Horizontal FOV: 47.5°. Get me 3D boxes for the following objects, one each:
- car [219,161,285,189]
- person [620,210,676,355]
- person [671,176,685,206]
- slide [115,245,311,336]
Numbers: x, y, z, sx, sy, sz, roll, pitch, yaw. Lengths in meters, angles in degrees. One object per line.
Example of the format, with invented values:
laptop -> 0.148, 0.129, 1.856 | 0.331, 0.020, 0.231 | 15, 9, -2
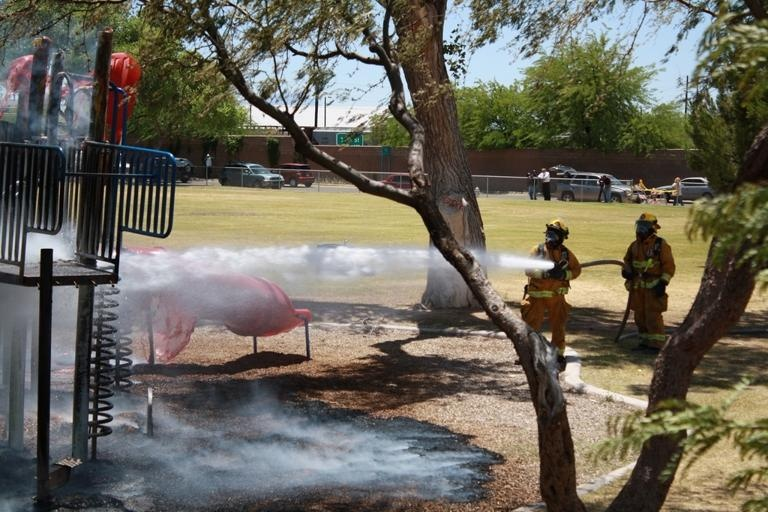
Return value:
car -> -8.472, -5.205, 55.157 | 4.281, 1.448, 1.498 | 4, 12, 21
person -> 3.824, 0.359, 12.655 | 0.720, 1.929, 1.004 | 4, 13, 13
person -> 14.797, -3.347, 43.984 | 0.592, 1.300, 2.692 | 5, 11, 18
slide -> -2.655, 0.676, 12.330 | 2.779, 1.201, 1.467 | 10, 14, 41
